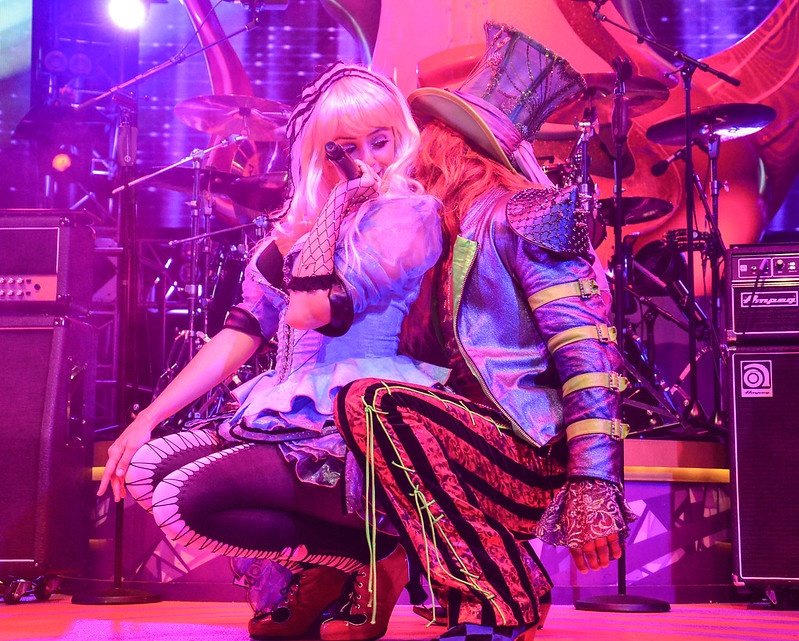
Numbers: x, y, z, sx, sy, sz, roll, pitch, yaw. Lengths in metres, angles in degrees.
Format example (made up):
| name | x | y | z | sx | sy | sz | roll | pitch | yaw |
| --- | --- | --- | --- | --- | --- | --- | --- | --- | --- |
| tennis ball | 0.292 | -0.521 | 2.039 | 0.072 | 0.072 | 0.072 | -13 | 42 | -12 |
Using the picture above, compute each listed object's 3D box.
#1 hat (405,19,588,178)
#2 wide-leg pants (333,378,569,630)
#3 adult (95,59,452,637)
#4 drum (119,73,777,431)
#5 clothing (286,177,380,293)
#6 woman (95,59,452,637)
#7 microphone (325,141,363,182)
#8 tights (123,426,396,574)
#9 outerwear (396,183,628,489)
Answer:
| name | x | y | z | sx | sy | sz | roll | pitch | yaw |
| --- | --- | --- | --- | --- | --- | --- | --- | --- | --- |
| hat | 0.207 | -0.531 | 2.366 | 0.384 | 0.231 | 0.427 | 38 | -4 | -10 |
| wide-leg pants | 0.124 | 0.382 | 1.942 | 0.527 | 0.504 | 0.155 | 2 | -11 | -9 |
| adult | -0.451 | 0.067 | 3.107 | 1.351 | 2.209 | 1.103 | 0 | -1 | -19 |
| drum | 0.220 | -0.221 | 3.109 | 1.866 | 1.134 | 1.788 | -2 | 4 | 0 |
| clothing | -0.133 | -0.225 | 2.145 | 0.103 | 0.381 | 0.099 | 27 | -50 | -3 |
| woman | -0.346 | 0.152 | 3.153 | 1.351 | 2.209 | 1.103 | 0 | -1 | -19 |
| microphone | -0.130 | -0.379 | 2.161 | 0.040 | 0.035 | 0.140 | -45 | -29 | 7 |
| tights | -0.322 | 0.423 | 2.172 | 0.531 | 0.184 | 0.289 | 1 | -5 | -15 |
| outerwear | 0.230 | 0.042 | 2.009 | 0.246 | 0.426 | 0.669 | -5 | 12 | -29 |
